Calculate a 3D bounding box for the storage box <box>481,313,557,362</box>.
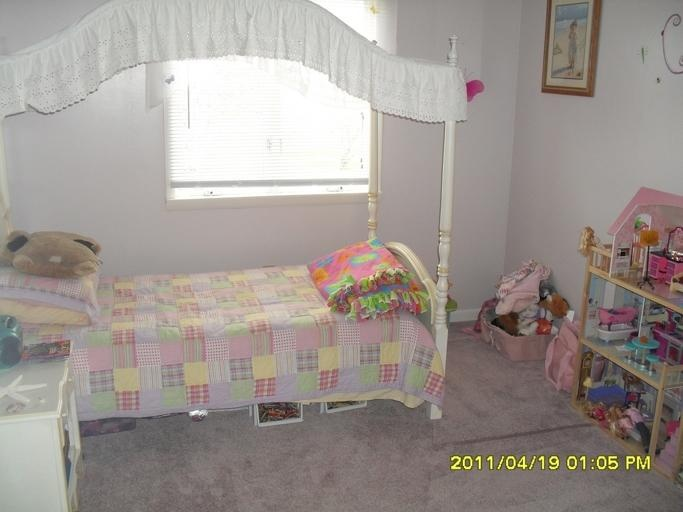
[{"bbox_3d":[1.612,0.749,5.066,0.325,0.160,0.443,-3,15,-8],"label":"storage box"}]
